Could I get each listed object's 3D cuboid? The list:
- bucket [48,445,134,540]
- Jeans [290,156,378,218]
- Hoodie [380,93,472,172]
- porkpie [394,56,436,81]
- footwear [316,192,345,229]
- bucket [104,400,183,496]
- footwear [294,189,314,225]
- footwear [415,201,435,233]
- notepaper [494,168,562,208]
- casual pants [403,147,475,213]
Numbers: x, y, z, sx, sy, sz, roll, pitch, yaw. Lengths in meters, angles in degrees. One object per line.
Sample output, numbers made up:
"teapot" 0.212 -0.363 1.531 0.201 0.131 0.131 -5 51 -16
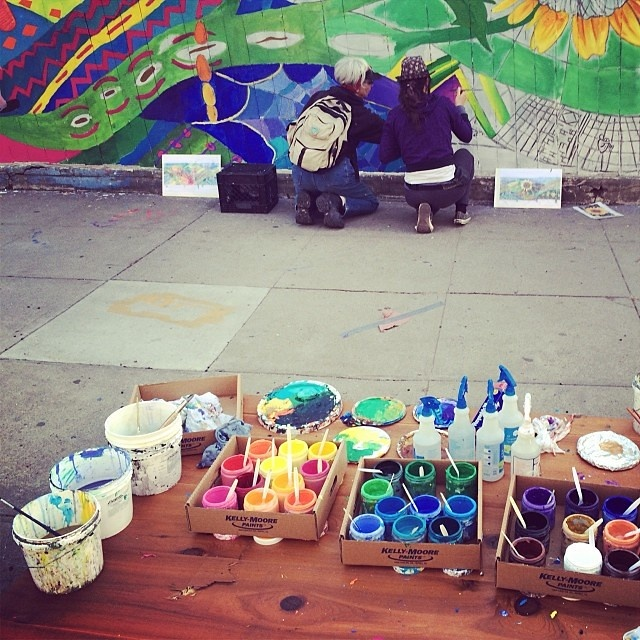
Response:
"bucket" -0.824 0.593 2.377 0.348 0.220 0.318 0 24 0
"Jeans" 0.238 -1.550 7.218 0.517 0.737 0.861 -8 14 -34
"Hoodie" 1.046 -1.843 6.430 0.901 0.756 0.346 -2 27 4
"porkpie" 0.862 -2.335 5.990 0.242 0.131 0.273 0 25 19
"footwear" 0.145 -1.165 7.058 0.226 0.442 0.229 -36 -28 30
"bucket" -0.663 0.541 2.524 0.275 0.202 0.255 -9 0 0
"footwear" -0.167 -1.240 7.174 0.162 0.389 0.184 -1 -7 13
"footwear" 1.093 -1.065 6.743 0.144 0.323 0.158 2 5 16
"notepaper" 2.324 -1.469 7.187 0.899 0.448 0.024 -5 7 -20
"casual pants" 1.310 -1.456 6.844 0.623 0.462 0.744 6 39 24
